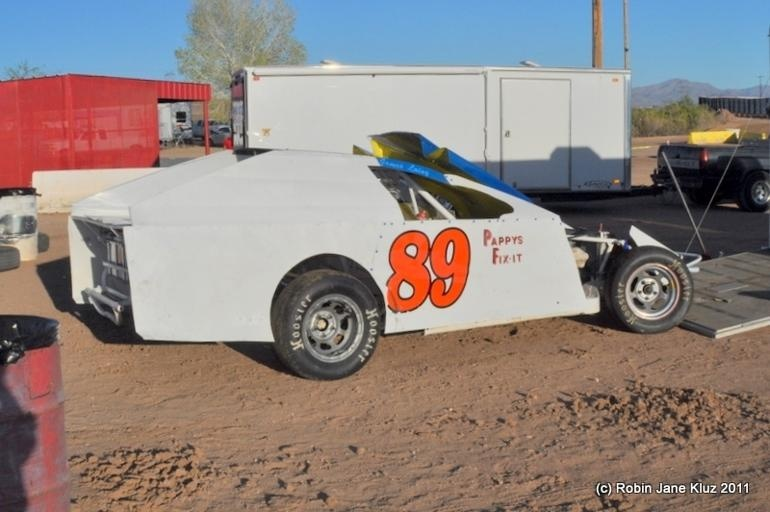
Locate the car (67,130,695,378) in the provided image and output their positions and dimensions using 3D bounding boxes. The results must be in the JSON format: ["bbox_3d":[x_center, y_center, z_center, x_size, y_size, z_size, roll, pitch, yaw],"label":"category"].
[{"bbox_3d":[-0.244,-0.065,7.489,6.508,2.592,1.988,-8,11,-15],"label":"car"}]
